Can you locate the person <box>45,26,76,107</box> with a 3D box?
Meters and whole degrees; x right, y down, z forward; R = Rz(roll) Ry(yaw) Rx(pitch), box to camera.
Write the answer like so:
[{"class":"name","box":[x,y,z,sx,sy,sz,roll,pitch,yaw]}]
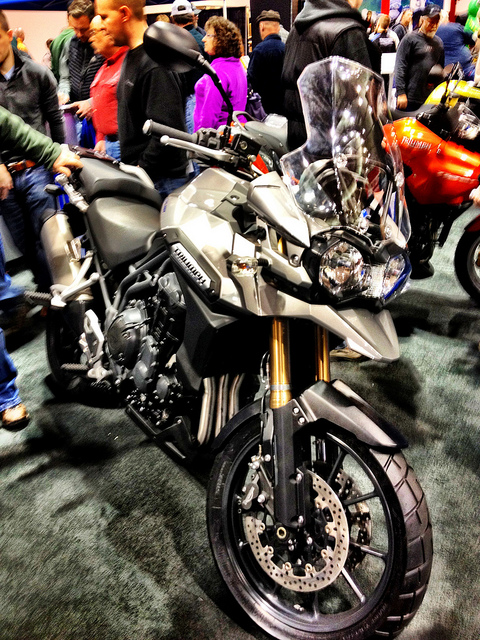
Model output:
[{"class":"person","box":[-1.933,-2.879,5.099,0.251,0.870,0.416,1,-5,-11]}]
